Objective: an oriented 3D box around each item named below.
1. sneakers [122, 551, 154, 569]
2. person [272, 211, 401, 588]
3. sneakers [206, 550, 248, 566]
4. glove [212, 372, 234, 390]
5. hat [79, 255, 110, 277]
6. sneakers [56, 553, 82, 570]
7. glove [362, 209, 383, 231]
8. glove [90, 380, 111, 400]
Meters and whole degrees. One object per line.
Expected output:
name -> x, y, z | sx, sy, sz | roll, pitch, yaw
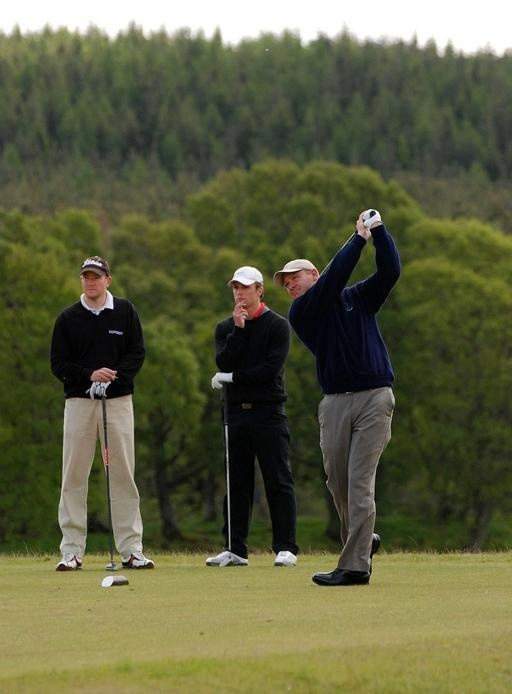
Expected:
sneakers -> -1.412, 2.597, 22.395 | 0.410, 0.215, 0.164 | -7, -9, 28
person -> 1.079, 0.590, 21.244 | 1.098, 4.164, 0.991 | 0, 9, 5
sneakers -> -0.358, 2.636, 22.667 | 0.511, 0.274, 0.204 | 4, -12, 1
glove -> -0.436, 0.439, 22.907 | 0.160, 0.107, 0.247 | 4, -44, 0
hat -> -1.990, -0.998, 22.710 | 0.327, 0.226, 0.679 | -2, 10, -5
sneakers -> -2.257, 2.600, 22.183 | 0.124, 0.165, 0.339 | 0, -15, 12
glove -> 1.316, -1.491, 21.379 | 0.162, 0.246, 0.233 | -9, -17, -5
glove -> -1.914, 0.540, 22.328 | 0.184, 0.218, 0.070 | 6, -6, 19
